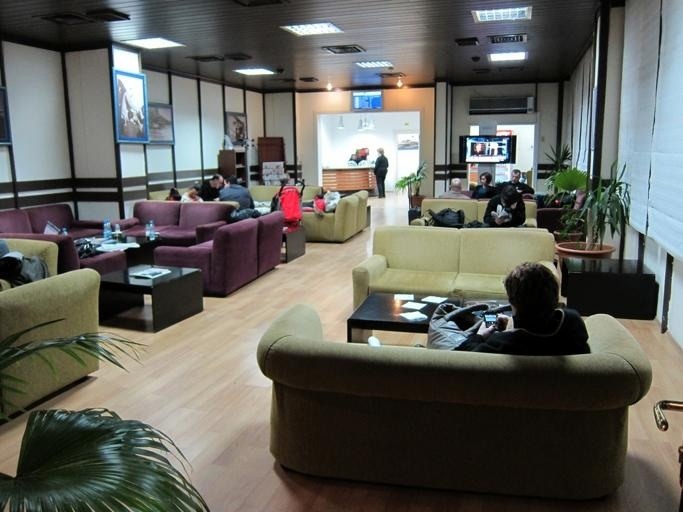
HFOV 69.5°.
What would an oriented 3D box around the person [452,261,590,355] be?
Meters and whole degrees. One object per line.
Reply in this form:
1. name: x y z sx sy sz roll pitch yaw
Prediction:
1. person: 0.939 0.371 2.635 0.710 0.576 0.420 -10 19 2
